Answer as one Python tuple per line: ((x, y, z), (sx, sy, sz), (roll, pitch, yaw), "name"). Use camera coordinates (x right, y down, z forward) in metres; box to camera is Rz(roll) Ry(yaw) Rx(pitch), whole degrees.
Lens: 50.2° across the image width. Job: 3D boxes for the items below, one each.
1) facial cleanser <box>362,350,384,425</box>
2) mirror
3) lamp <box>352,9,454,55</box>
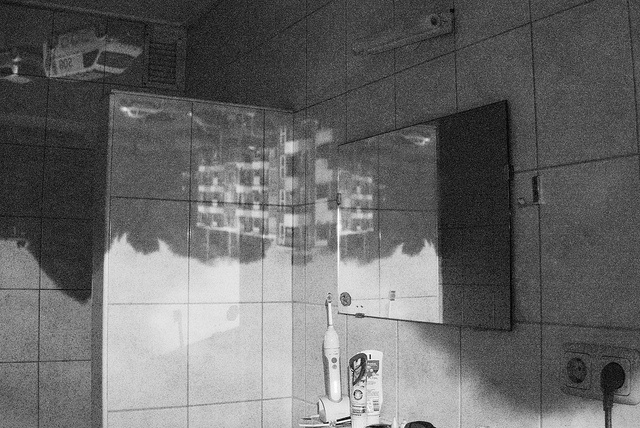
((0.208, 0.653, 2.577), (0.071, 0.261, 0.090), (4, -4, -10), "facial cleanser")
((0.423, 0.011, 2.597), (0.112, 0.931, 0.881), (4, -6, -41), "mirror")
((0.323, -0.710, 2.688), (0.440, 0.095, 0.078), (-6, -11, 40), "lamp")
